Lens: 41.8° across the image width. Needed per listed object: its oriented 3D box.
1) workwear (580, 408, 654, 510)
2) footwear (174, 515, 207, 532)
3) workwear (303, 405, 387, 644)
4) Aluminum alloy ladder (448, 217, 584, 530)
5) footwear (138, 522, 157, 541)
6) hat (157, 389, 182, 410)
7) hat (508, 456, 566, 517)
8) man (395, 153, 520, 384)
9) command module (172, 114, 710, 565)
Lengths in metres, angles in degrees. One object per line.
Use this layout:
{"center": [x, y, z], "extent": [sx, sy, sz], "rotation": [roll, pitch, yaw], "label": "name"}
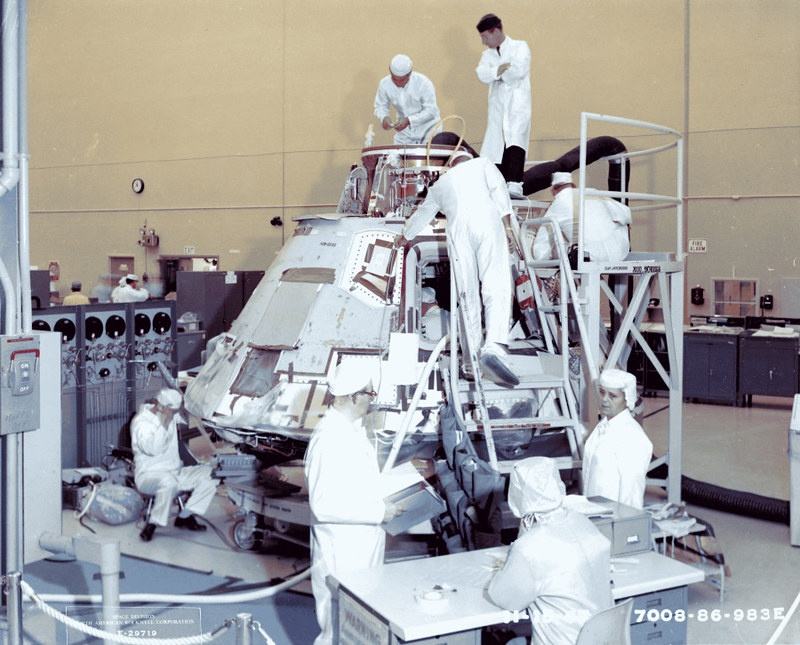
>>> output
{"center": [1.652, 1.079, 8.281], "extent": [0.439, 0.818, 0.850], "rotation": [5, 7, -18], "label": "workwear"}
{"center": [-2.087, 2.000, 10.478], "extent": [0.347, 0.165, 0.133], "rotation": [5, -1, 4], "label": "footwear"}
{"center": [-0.396, 1.491, 7.626], "extent": [0.594, 1.740, 0.367], "rotation": [0, 2, -3], "label": "workwear"}
{"center": [0.931, 0.474, 9.149], "extent": [1.262, 2.427, 0.569], "rotation": [-6, -10, -13], "label": "Aluminum alloy ladder"}
{"center": [-2.448, 2.048, 10.166], "extent": [0.109, 0.199, 0.079], "rotation": [22, -34, -7], "label": "footwear"}
{"center": [-2.258, 0.747, 10.254], "extent": [0.156, 0.178, 0.221], "rotation": [5, 11, -5], "label": "hat"}
{"center": [0.936, 1.148, 7.225], "extent": [0.508, 0.522, 0.298], "rotation": [-4, -14, 9], "label": "hat"}
{"center": [0.618, -0.390, 9.325], "extent": [0.891, 1.833, 0.624], "rotation": [-5, -17, -4], "label": "man"}
{"center": [0.302, 0.037, 10.252], "extent": [4.724, 3.484, 3.581], "rotation": [3, 2, 6], "label": "command module"}
